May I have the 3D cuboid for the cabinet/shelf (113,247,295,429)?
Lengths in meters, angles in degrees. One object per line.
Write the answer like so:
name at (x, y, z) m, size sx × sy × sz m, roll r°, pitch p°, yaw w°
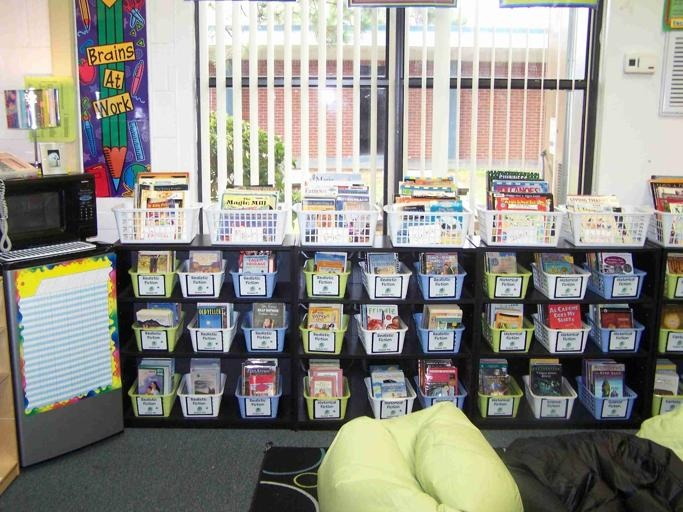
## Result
cabinet/shelf at (-0.929, 0.548, 3.729) m, size 1.007 × 1.059 × 0.362 m, roll 1°, pitch 6°, yaw -5°

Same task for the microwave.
microwave at (-1.798, -0.284, 3.483) m, size 0.675 × 0.505 × 0.378 m, roll -7°, pitch 12°, yaw -44°

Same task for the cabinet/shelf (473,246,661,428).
cabinet/shelf at (1.507, 0.528, 3.729) m, size 1.048 × 1.146 × 0.375 m, roll 1°, pitch 1°, yaw -1°
